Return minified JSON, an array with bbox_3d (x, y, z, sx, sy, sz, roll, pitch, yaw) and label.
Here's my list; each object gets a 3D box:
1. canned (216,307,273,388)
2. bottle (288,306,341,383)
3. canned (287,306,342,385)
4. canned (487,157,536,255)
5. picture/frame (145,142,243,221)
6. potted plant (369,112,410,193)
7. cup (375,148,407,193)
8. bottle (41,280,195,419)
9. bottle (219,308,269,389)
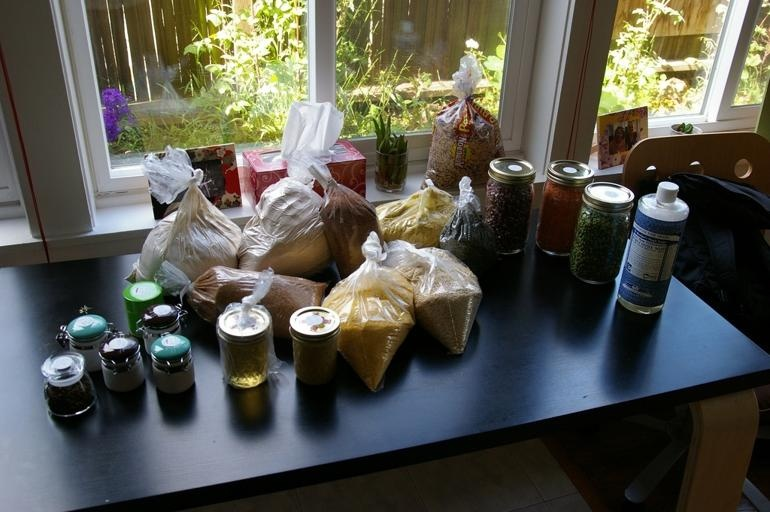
[{"bbox_3d":[-0.300,0.204,1.172,0.111,0.158,0.102,-12,36,-28],"label":"canned"},{"bbox_3d":[-0.134,0.197,1.217,0.126,0.144,0.139,1,31,-2],"label":"bottle"},{"bbox_3d":[-0.134,0.198,1.219,0.128,0.147,0.141,1,30,-2],"label":"canned"},{"bbox_3d":[0.341,-0.128,1.481,0.151,0.267,0.145,-7,39,-6],"label":"canned"},{"bbox_3d":[-0.553,-0.209,1.575,0.261,0.207,0.019,-23,22,-19],"label":"picture/frame"},{"bbox_3d":[0.019,-0.378,1.988,0.112,0.263,0.161,0,26,-2],"label":"potted plant"},{"bbox_3d":[0.013,-0.306,2.011,0.134,0.157,0.137,-2,10,0],"label":"cup"},{"bbox_3d":[-0.578,0.191,1.182,0.267,0.171,0.263,1,27,-1],"label":"bottle"},{"bbox_3d":[-0.298,0.188,1.159,0.108,0.174,0.095,-1,27,-5],"label":"bottle"}]
